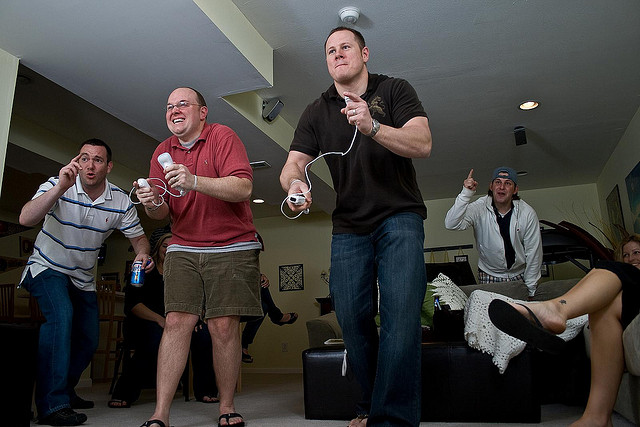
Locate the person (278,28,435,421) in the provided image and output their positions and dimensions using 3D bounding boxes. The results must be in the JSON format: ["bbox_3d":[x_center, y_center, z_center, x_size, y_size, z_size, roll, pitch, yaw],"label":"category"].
[{"bbox_3d":[0.147,-0.014,1.726,0.566,1.744,0.616,7,-17,-24],"label":"person"}]

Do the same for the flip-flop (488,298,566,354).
[{"bbox_3d":[0.846,0.442,1.643,0.369,0.212,0.208,-5,-12,16],"label":"flip-flop"}]

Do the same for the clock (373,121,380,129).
[{"bbox_3d":[0.221,-0.350,1.534,0.029,0.027,0.009,11,-19,-37],"label":"clock"}]

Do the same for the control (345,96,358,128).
[{"bbox_3d":[0.110,-0.420,1.594,0.039,0.103,0.074,-4,0,-22],"label":"control"}]

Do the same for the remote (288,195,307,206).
[{"bbox_3d":[-0.096,-0.058,1.667,0.078,0.048,0.031,0,-15,-2],"label":"remote"}]

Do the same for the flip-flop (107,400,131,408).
[{"bbox_3d":[-1.541,1.452,2.999,0.109,0.039,0.062,3,-16,-2],"label":"flip-flop"}]

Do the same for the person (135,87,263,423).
[{"bbox_3d":[-0.665,0.153,2.187,0.716,1.917,0.570,3,-16,-10],"label":"person"}]

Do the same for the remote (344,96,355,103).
[{"bbox_3d":[0.115,-0.458,1.588,0.027,0.025,0.027,-2,2,14],"label":"remote"}]
